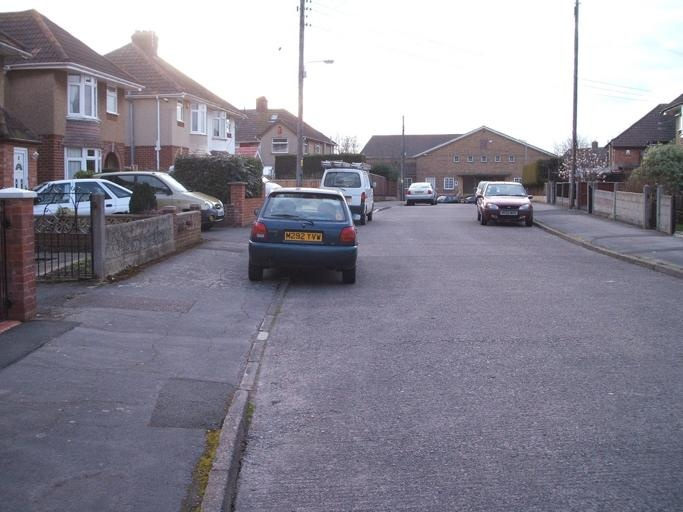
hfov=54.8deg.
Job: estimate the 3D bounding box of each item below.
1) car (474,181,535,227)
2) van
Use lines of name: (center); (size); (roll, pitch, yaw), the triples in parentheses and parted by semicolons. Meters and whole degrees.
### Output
car: (6.615, -2.113, 26.783); (1.973, 1.677, 2.722); (3, 8, 10)
van: (0.422, -2.791, 28.614); (1.725, 1.984, 3.486); (1, 12, 11)
